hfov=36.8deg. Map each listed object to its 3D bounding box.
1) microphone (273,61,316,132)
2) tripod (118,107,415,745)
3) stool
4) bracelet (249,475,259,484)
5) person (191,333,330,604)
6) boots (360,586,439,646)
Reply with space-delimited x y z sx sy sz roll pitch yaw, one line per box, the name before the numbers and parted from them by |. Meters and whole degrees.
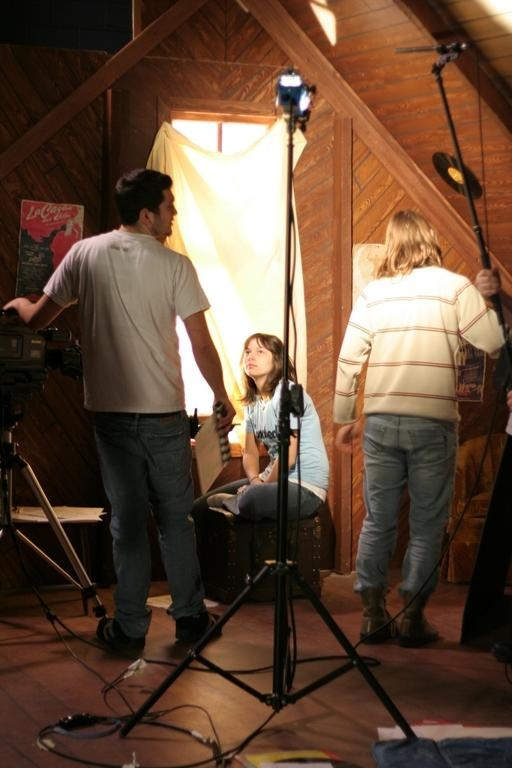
microphone | 0.093 -0.796 2.061 0.114 0.050 0.147 5 -12 6
tripod | 0.116 -0.003 2.294 0.737 1.847 0.928 1 -2 11
stool | -0.819 0.665 3.190 0.452 0.399 0.432 -1 3 45
bracelet | -0.010 0.434 3.425 0.029 0.027 0.030 0 0 9
person | 0.033 0.355 3.482 0.629 1.098 0.480 0 -3 -20
boots | 0.533 0.830 2.820 0.212 0.220 0.249 -3 -7 28
